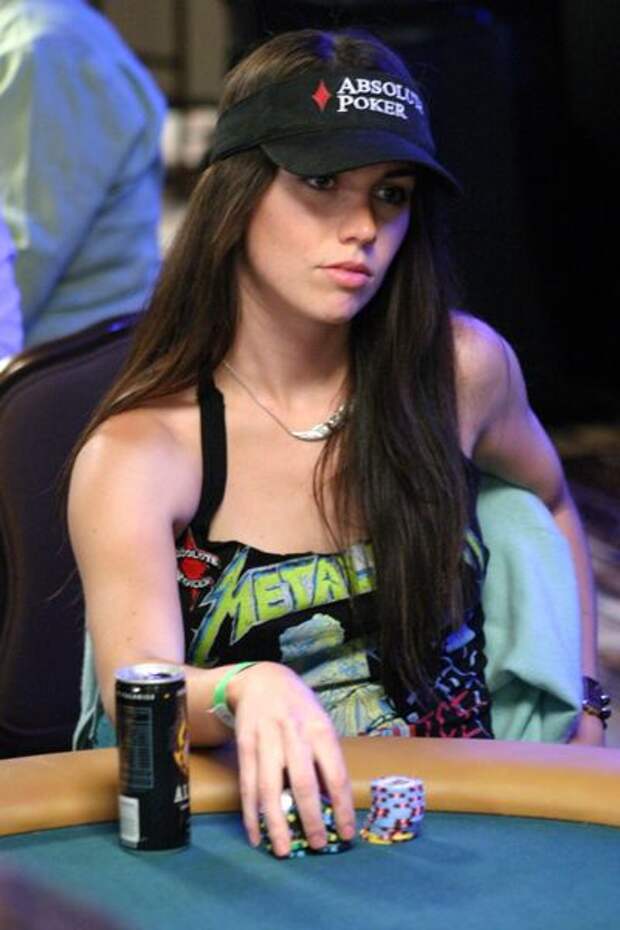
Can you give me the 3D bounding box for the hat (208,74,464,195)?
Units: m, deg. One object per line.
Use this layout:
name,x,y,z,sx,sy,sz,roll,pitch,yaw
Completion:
hat,0.037,-0.463,1.343,0.358,0.161,0.272,-3,41,-4

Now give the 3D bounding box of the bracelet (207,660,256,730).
bracelet,-0.089,0.239,0.984,0.069,0.048,0.065,-5,7,4

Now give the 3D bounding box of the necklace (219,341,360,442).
necklace,-0.030,-0.121,1.544,0.149,0.037,0.159,49,27,19
